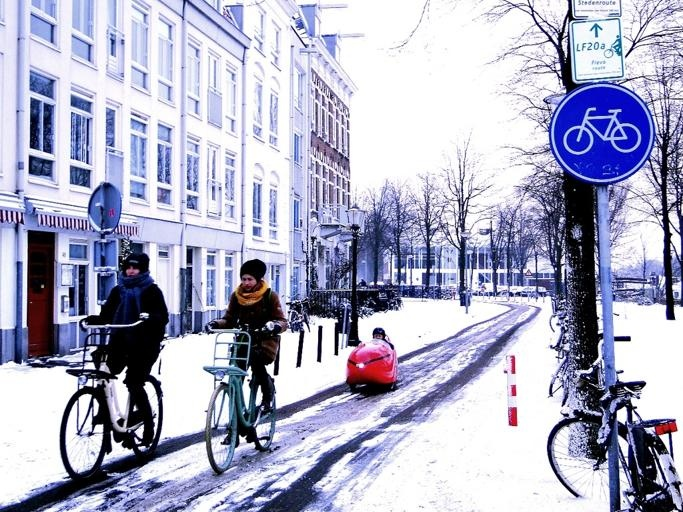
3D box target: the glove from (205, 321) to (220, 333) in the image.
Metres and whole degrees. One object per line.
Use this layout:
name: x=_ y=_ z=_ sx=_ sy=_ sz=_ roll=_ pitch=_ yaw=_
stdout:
glove: x=-1.631 y=0.900 z=9.381 sx=0.102 sy=0.072 sz=0.191 roll=-4 pitch=3 yaw=6

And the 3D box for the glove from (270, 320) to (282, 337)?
glove: x=-0.854 y=0.915 z=9.456 sx=0.134 sy=0.131 sz=0.159 roll=9 pitch=-27 yaw=-21

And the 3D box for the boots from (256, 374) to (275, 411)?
boots: x=-1.013 y=1.847 z=9.831 sx=0.145 sy=0.606 sz=0.209 roll=0 pitch=11 yaw=6

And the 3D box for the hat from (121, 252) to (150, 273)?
hat: x=-2.711 y=0.073 z=9.799 sx=0.210 sy=0.275 sz=0.317 roll=-5 pitch=-15 yaw=22

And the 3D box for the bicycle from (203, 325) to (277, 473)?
bicycle: x=-1.280 y=1.790 z=9.373 sx=0.636 sy=1.758 sz=1.547 roll=0 pitch=-4 yaw=15

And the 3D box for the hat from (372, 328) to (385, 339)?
hat: x=0.731 y=1.498 z=14.582 sx=0.164 sy=0.263 sz=0.230 roll=2 pitch=9 yaw=4

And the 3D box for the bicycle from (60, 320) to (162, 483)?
bicycle: x=-2.880 y=1.697 z=9.321 sx=1.145 sy=1.971 sz=1.340 roll=2 pitch=-4 yaw=-20

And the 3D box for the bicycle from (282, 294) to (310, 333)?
bicycle: x=-1.605 y=2.193 z=27.426 sx=0.841 sy=1.074 sz=1.528 roll=-3 pitch=3 yaw=24
